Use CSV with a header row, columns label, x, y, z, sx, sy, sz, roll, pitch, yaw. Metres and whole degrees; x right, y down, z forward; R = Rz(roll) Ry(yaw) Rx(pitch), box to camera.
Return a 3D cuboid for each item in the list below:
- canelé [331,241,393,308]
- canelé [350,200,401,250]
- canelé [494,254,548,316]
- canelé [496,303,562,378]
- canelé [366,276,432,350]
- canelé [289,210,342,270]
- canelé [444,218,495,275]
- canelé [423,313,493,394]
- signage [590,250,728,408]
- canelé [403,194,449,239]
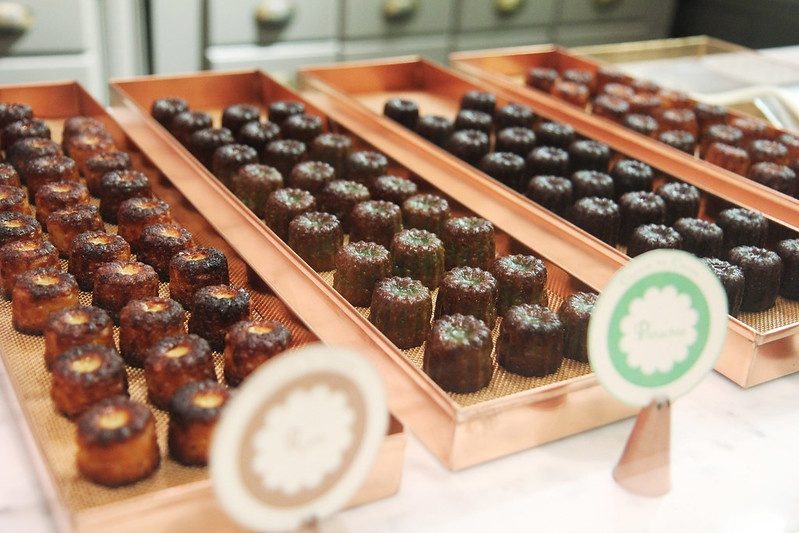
label,x,y,z,sx,sy,sz,roll,pitch,yaw
canelé,-0.122,0.018,2.110,0.185,0.175,0.189,13,25,0
canelé,-0.091,-0.167,2.289,0.163,0.155,0.161,7,18,-6
canelé,0.380,0.064,2.066,0.182,0.174,0.180,-5,24,-1
canelé,0.358,0.215,1.861,0.179,0.131,0.182,2,26,-4
canelé,0.019,0.149,1.950,0.177,0.157,0.182,8,13,15
canelé,-0.284,-0.091,2.257,0.183,0.164,0.179,6,24,-2
canelé,0.234,-0.080,2.245,0.170,0.154,0.168,0,22,-1
canelé,0.164,0.228,1.801,0.204,0.145,0.205,11,28,22
signage,0.554,0.142,1.415,0.350,0.373,0.089,-11,34,-17
canelé,0.085,-0.197,2.306,0.148,0.134,0.145,0,30,-8
